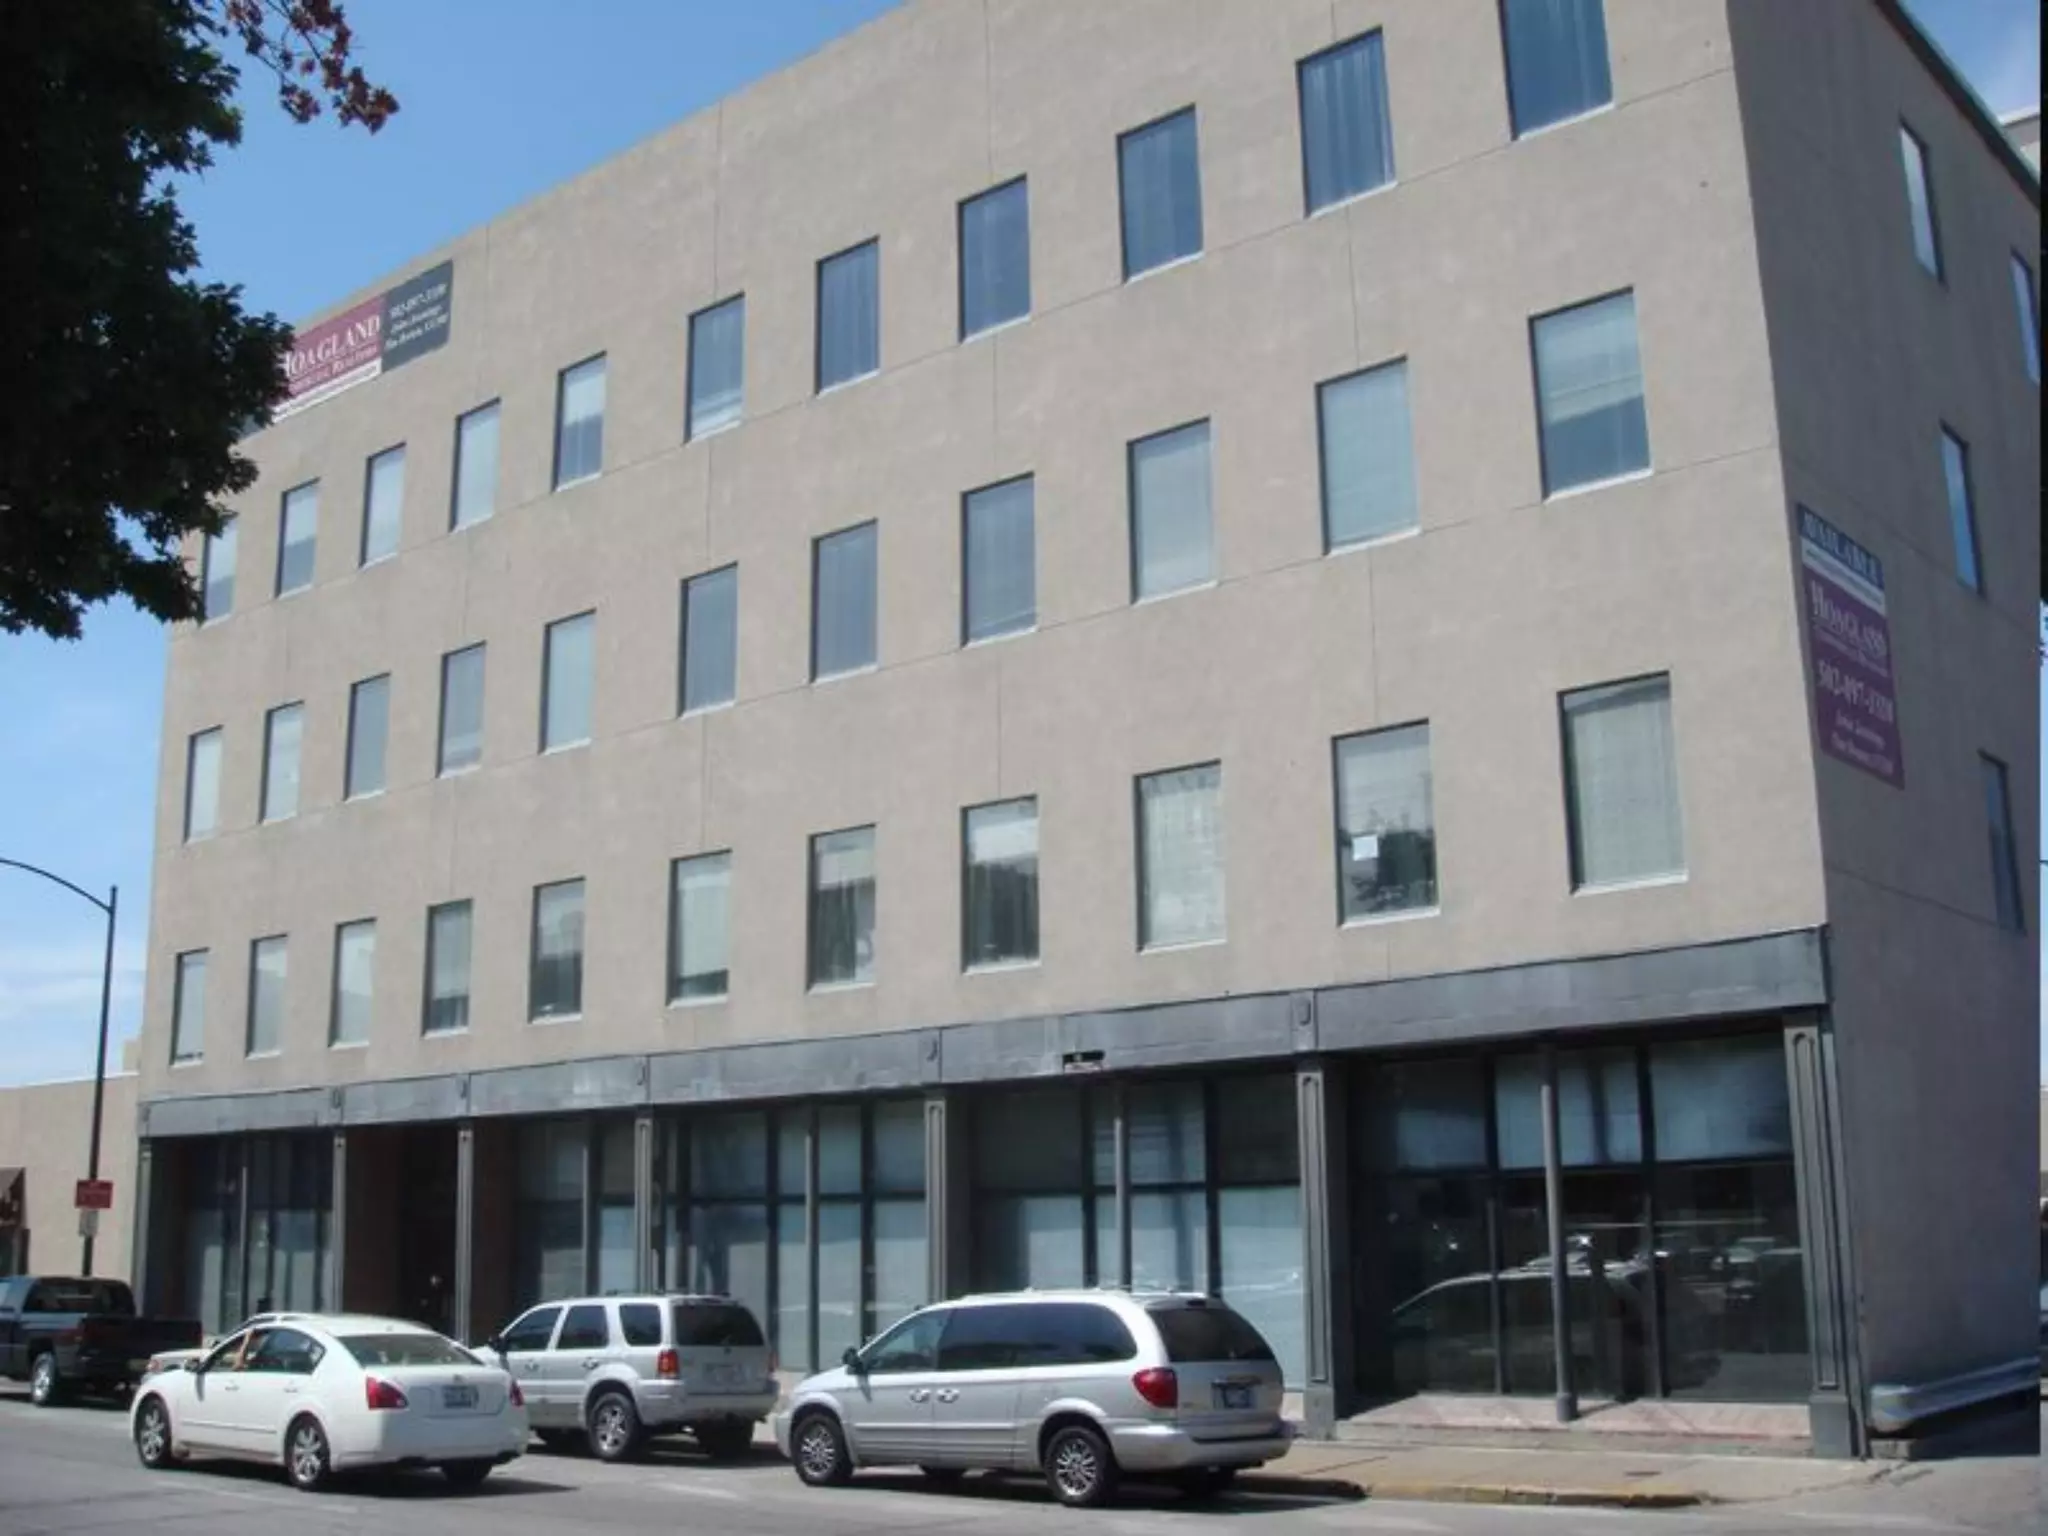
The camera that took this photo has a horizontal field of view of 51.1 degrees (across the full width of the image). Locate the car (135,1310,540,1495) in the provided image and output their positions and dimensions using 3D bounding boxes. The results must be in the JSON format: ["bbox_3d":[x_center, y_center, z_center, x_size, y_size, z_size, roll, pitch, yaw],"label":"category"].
[{"bbox_3d":[-8.464,7.647,25.678,5.482,2.020,1.701,-14,-22,28],"label":"car"}]

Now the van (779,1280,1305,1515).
[{"bbox_3d":[0.211,6.941,24.424,5.095,2.016,2.536,-12,-23,39],"label":"van"}]

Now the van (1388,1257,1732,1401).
[{"bbox_3d":[6.906,7.157,27.361,4.007,1.763,1.609,-5,-14,36],"label":"van"}]
